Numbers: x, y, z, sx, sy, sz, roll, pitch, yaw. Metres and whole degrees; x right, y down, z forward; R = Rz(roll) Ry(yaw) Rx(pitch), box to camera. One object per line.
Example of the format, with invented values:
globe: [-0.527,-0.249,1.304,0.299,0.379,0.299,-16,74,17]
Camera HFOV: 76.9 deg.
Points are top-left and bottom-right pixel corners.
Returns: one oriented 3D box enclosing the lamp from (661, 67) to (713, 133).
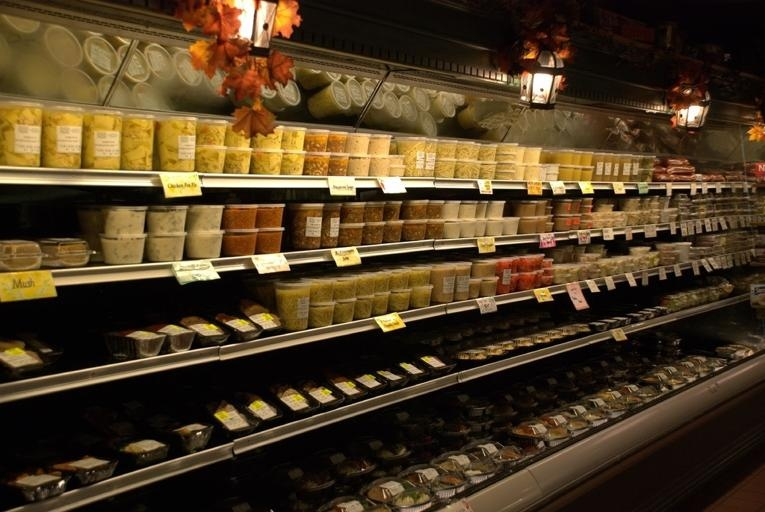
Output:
lamp: [2.796,-1.461,4.428,0.285,0.539,0.353,5,9,35]

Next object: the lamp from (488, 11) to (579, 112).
lamp: [1.048,-1.341,3.177,0.637,0.722,0.243,-5,9,-32]
